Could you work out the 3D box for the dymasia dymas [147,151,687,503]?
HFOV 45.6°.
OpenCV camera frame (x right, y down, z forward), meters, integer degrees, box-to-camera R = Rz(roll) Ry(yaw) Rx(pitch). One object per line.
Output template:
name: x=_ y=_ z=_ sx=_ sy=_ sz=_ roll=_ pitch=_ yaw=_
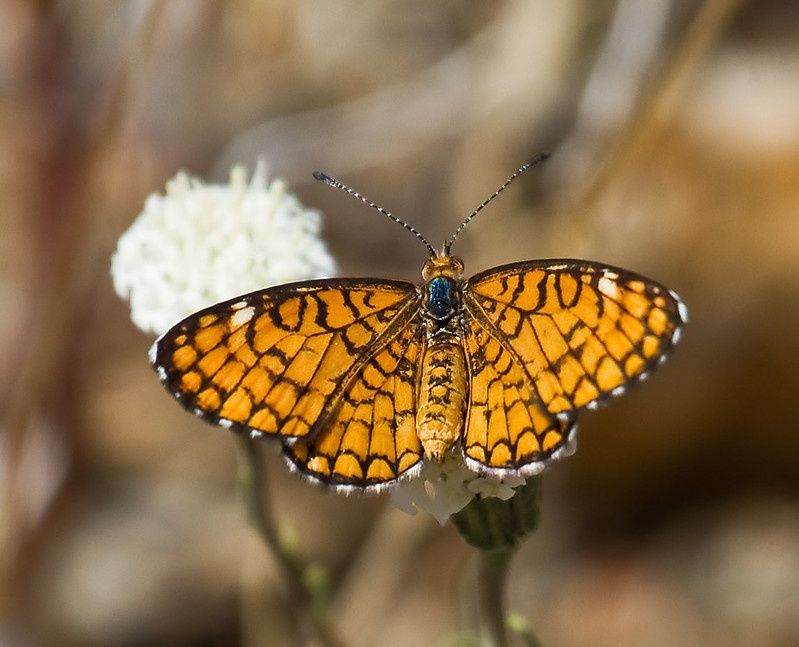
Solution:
dymasia dymas: x=0.032 y=0.016 z=1.133 sx=0.406 sy=0.111 sz=0.345 roll=-4 pitch=76 yaw=6
